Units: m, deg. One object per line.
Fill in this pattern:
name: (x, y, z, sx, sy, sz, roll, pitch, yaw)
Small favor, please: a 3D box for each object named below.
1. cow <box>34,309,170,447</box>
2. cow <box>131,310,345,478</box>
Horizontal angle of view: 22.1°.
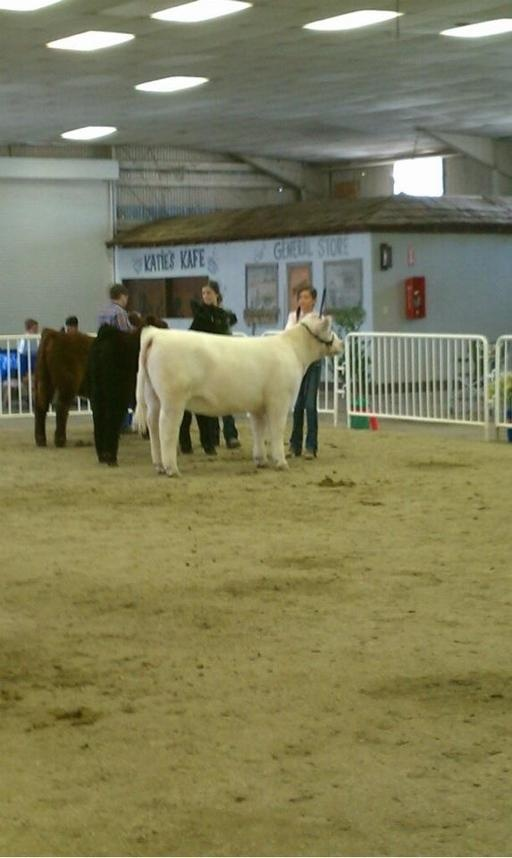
cow: (-1.615, -0.467, 13.413, 1.322, 1.270, 0.406, -3, 6, -19)
cow: (-0.189, -0.283, 11.069, 1.661, 1.314, 0.590, -3, 5, -25)
